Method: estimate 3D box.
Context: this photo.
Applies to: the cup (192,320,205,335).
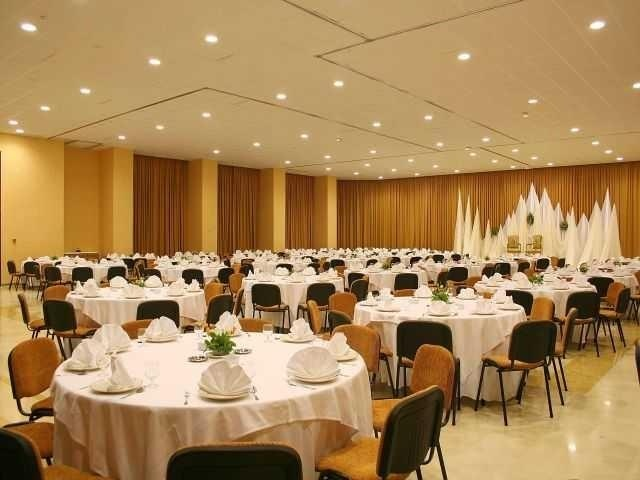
[{"bbox_3d":[-1.054,0.761,4.202,0.087,0.120,0.254,-1,0,-13],"label":"cup"}]
